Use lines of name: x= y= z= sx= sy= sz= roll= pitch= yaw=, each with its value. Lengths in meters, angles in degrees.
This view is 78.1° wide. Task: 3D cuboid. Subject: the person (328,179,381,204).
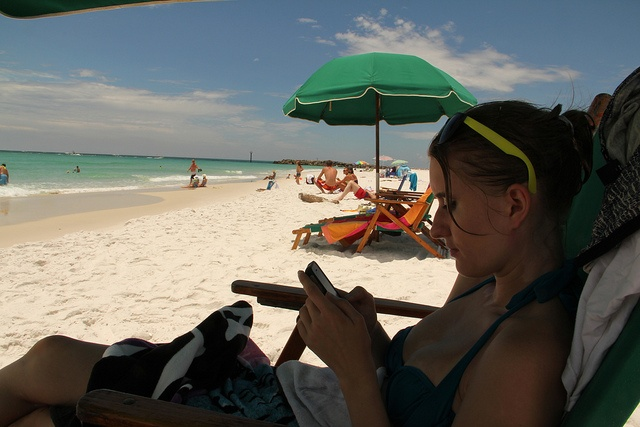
person: x=1.087 y=-0.716 z=11.729 sx=1.048 sy=0.410 sz=0.843 roll=-4 pitch=1 yaw=26

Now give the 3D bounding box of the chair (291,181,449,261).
chair: x=0.755 y=0.116 z=6.450 sx=1.895 sy=0.955 sz=1.251 roll=1 pitch=0 yaw=15

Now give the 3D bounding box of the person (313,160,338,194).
person: x=0.337 y=-1.581 z=17.456 sx=1.194 sy=1.486 sz=1.107 roll=1 pitch=7 yaw=-9
